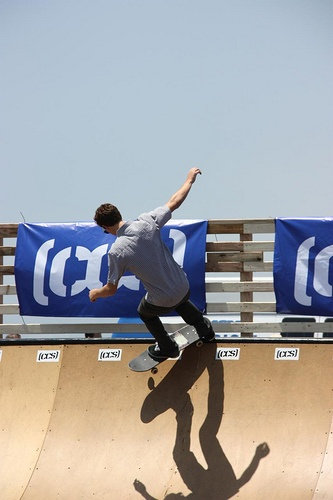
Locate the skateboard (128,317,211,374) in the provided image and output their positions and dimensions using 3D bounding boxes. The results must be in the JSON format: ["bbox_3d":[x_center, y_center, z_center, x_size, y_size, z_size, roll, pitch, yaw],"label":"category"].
[{"bbox_3d":[0.052,1.040,6.435,0.272,0.172,1.157,41,28,19],"label":"skateboard"}]

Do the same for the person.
[{"bbox_3d":[-0.147,0.175,6.109,1.168,1.983,0.541,-4,5,-42],"label":"person"}]
